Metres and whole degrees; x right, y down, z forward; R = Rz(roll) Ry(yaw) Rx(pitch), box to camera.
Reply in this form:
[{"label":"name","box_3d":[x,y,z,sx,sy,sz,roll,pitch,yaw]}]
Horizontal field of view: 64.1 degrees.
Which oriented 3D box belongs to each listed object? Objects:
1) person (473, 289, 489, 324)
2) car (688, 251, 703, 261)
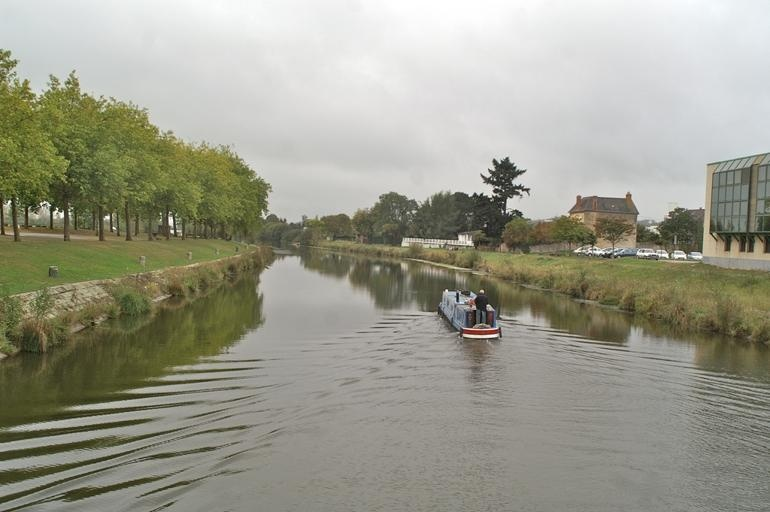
[{"label":"person","box_3d":[5.622,2.905,36.030,0.734,1.876,1.389,2,5,8]},{"label":"car","box_3d":[49.468,-0.116,97.182,1.643,1.470,2.832,0,-5,-9]}]
